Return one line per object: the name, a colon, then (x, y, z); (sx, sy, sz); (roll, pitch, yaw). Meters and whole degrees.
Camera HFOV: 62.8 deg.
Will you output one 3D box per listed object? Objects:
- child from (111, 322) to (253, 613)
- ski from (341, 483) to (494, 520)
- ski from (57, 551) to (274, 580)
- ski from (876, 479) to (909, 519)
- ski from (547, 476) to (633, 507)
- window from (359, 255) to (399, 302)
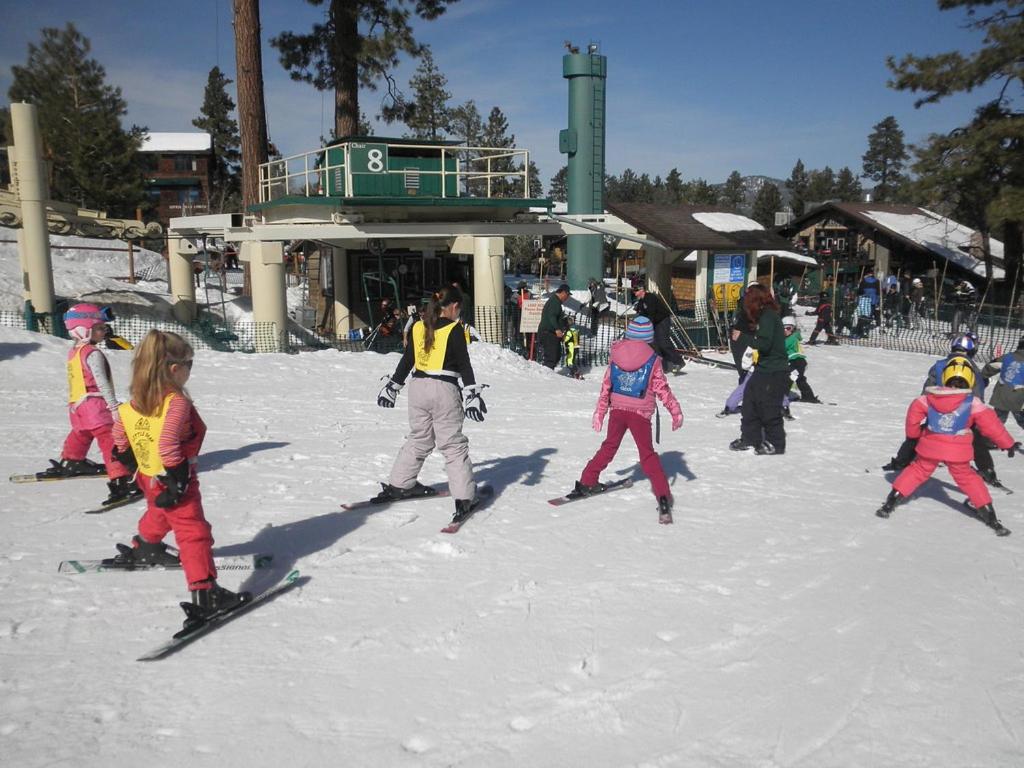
child: (-3.466, 0.928, 8.827); (1.977, 3.044, 1.087); (21, 23, 34)
ski: (-1.083, 1.369, 9.663); (1.286, 0.215, 0.316); (-4, 26, -29)
ski: (-3.240, 1.672, 7.666); (2.150, 0.228, 0.222); (-4, -25, -2)
ski: (4.486, 1.374, 9.868); (0.141, 0.429, 0.181); (34, -4, 40)
ski: (0.986, 1.329, 10.300); (0.351, 0.166, 1.511); (17, 19, 40)
window: (-4.189, -3.387, 26.365); (0.936, 1.636, 0.852); (-21, 37, -27)
